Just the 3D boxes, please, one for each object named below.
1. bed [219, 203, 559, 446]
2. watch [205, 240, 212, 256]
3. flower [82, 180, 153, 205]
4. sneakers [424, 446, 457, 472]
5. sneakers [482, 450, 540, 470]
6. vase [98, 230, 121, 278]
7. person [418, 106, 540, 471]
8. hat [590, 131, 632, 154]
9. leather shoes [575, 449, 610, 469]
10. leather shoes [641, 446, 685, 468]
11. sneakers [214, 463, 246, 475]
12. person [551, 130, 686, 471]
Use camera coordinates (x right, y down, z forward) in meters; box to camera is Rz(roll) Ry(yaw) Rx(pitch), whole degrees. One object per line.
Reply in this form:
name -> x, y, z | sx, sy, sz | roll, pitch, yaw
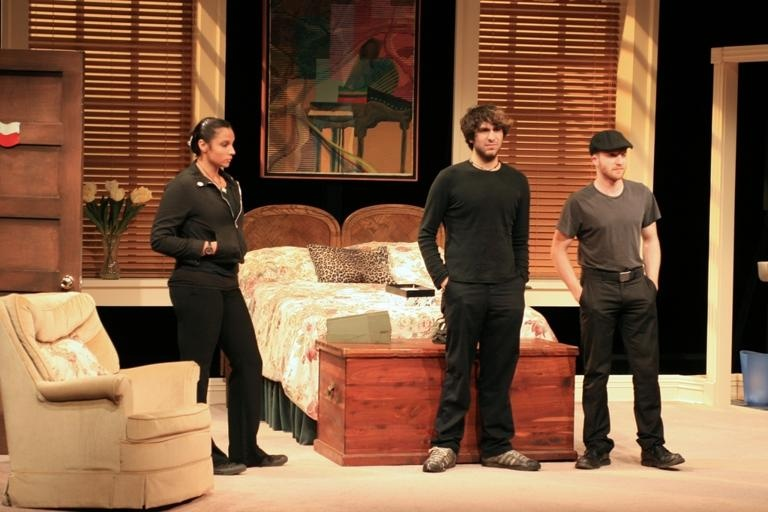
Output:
bed -> -0.326, 0.276, 7.420 | 2.036, 1.370, 2.411 | -1, 5, -19
watch -> -1.110, -0.051, 5.538 | 0.060, 0.081, 0.030 | 1, 5, -11
flower -> -2.376, -0.562, 7.827 | 0.588, 0.208, 0.469 | 0, 5, -17
sneakers -> 0.370, 1.359, 5.841 | 0.116, 0.102, 0.242 | -5, -11, 30
sneakers -> 0.861, 1.365, 5.922 | 0.382, 0.144, 0.132 | -1, -2, 9
vase -> -2.464, -0.001, 7.851 | 0.158, 0.401, 0.137 | 0, 5, -14
person -> 0.633, 0.218, 5.851 | 0.821, 2.424, 0.296 | 1, 5, -5
hat -> 1.539, -0.777, 5.978 | 0.169, 0.090, 0.226 | -4, 3, -21
leather shoes -> 1.428, 1.405, 6.056 | 0.285, 0.114, 0.100 | 4, -6, -35
leather shoes -> 1.897, 1.386, 6.073 | 0.317, 0.140, 0.135 | -9, -5, 44
sneakers -> -1.014, 1.390, 5.717 | 0.155, 0.060, 0.082 | 0, -3, 0
person -> 1.599, 0.294, 6.024 | 0.861, 2.310, 0.358 | 2, 5, 0
